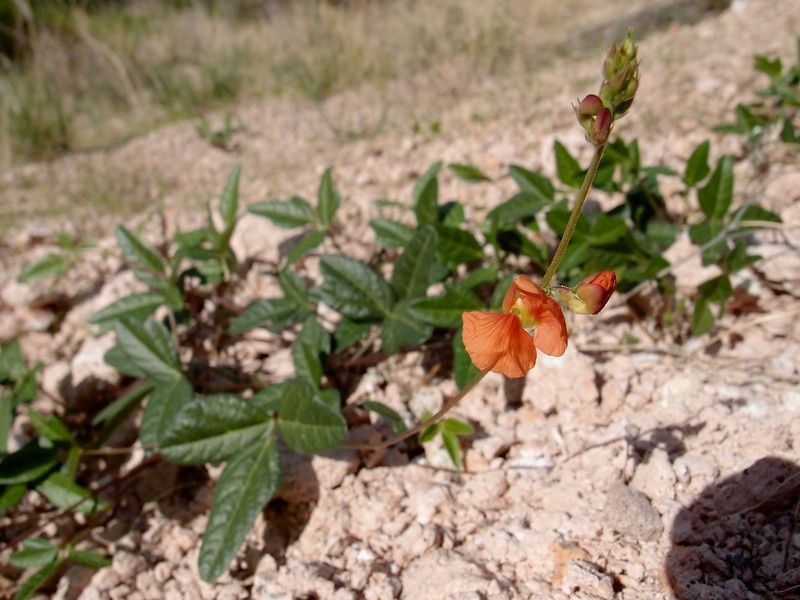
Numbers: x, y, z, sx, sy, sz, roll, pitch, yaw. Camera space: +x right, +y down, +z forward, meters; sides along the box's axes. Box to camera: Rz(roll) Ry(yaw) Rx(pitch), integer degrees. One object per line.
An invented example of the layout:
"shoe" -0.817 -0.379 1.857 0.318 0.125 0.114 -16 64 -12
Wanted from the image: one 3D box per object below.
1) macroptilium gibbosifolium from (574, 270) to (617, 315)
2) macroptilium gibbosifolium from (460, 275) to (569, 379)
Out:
"macroptilium gibbosifolium" 0.829 -0.028 3.378 0.097 0.209 0.119 -17 63 -49
"macroptilium gibbosifolium" 0.499 0.075 3.623 0.492 0.548 0.268 17 75 -15
